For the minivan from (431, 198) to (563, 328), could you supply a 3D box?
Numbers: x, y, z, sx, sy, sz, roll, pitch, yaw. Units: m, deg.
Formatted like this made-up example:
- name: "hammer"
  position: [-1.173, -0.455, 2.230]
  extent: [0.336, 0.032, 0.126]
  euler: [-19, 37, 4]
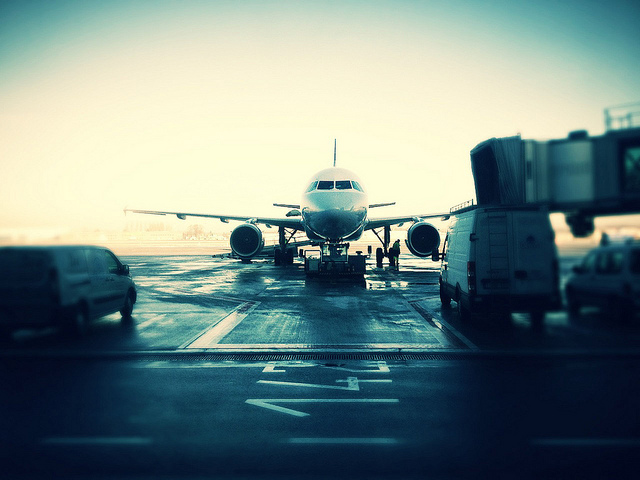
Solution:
- name: "minivan"
  position: [4.074, 0.442, 13.147]
  extent: [2.502, 2.776, 6.315]
  euler: [0, 2, 5]
